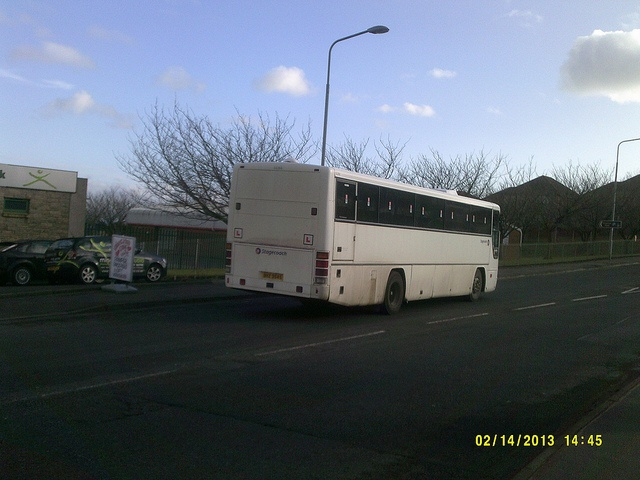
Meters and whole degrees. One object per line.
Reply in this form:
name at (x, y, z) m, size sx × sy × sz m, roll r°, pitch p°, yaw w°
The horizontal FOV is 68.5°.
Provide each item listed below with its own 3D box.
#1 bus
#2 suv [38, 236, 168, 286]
bus at (2.935, 0.260, 16.489) m, size 10.229 × 4.464 × 3.523 m, roll 3°, pitch -1°, yaw -41°
suv at (-8.982, 0.867, 19.881) m, size 4.787 × 2.153 × 1.837 m, roll 2°, pitch -1°, yaw -32°
